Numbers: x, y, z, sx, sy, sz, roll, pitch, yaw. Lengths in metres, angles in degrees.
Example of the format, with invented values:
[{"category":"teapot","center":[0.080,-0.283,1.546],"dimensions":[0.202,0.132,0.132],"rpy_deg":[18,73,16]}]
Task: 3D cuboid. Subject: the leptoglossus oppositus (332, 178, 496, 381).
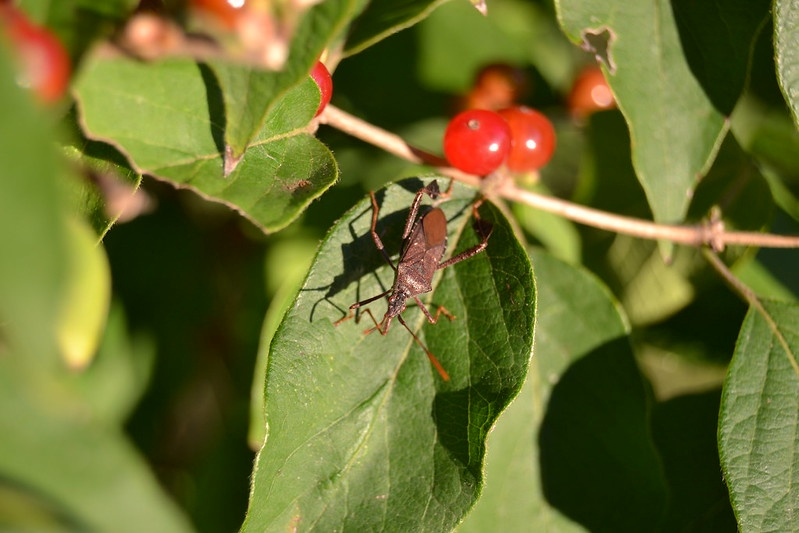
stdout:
[{"category":"leptoglossus oppositus","center":[0.080,0.006,3.160],"dimensions":[0.679,0.690,0.562],"rpy_deg":[1,6,13]}]
